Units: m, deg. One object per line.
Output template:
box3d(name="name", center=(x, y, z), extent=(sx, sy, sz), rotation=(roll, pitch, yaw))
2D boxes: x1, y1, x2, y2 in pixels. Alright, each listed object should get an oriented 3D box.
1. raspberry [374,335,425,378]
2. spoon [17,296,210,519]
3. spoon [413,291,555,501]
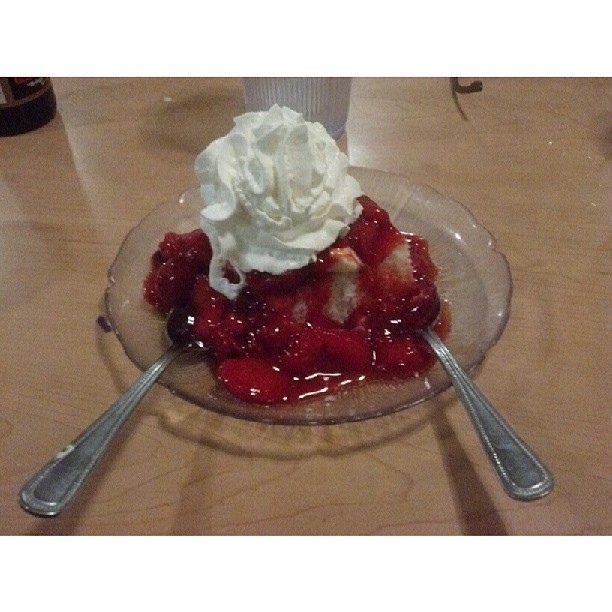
box3d(name="raspberry", center=(0.164, 0.095, 1.202), extent=(0.082, 0.027, 0.081), rotation=(-18, 57, -14))
box3d(name="spoon", center=(-0.303, 0.136, 1.215), extent=(0.137, 0.064, 0.592), rotation=(25, 34, 4))
box3d(name="spoon", center=(0.285, 0.131, 1.171), extent=(0.091, 0.058, 0.491), rotation=(-26, 38, 7))
